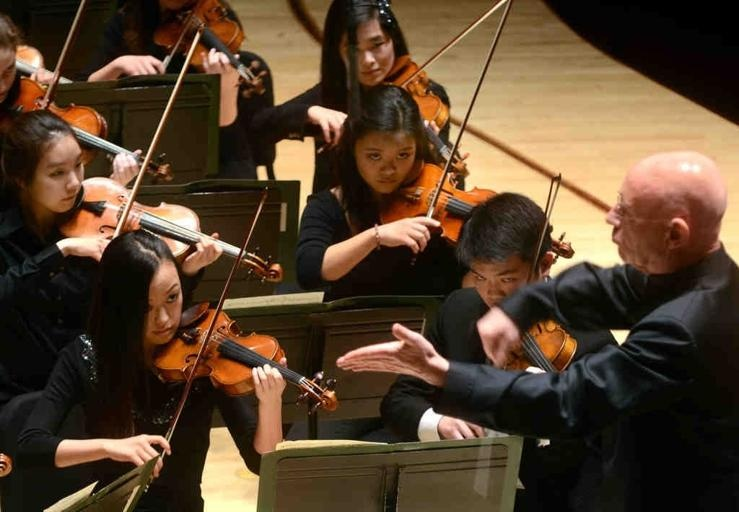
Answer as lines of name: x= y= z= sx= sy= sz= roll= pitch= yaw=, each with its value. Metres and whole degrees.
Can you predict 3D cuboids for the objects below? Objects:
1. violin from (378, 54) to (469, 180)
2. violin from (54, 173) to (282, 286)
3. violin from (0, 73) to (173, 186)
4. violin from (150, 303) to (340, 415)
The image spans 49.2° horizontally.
violin: x=0.117 y=-0.308 z=1.911 sx=0.297 sy=0.174 sz=0.081 roll=48 pitch=-13 yaw=-3
violin: x=-0.462 y=-0.042 z=1.831 sx=0.543 sy=0.188 sz=0.102 roll=20 pitch=-3 yaw=3
violin: x=-0.637 y=-0.271 z=1.865 sx=0.420 sy=0.162 sz=0.091 roll=24 pitch=-2 yaw=-13
violin: x=-0.251 y=0.224 z=1.658 sx=0.419 sy=0.054 sz=0.180 roll=17 pitch=45 yaw=31
